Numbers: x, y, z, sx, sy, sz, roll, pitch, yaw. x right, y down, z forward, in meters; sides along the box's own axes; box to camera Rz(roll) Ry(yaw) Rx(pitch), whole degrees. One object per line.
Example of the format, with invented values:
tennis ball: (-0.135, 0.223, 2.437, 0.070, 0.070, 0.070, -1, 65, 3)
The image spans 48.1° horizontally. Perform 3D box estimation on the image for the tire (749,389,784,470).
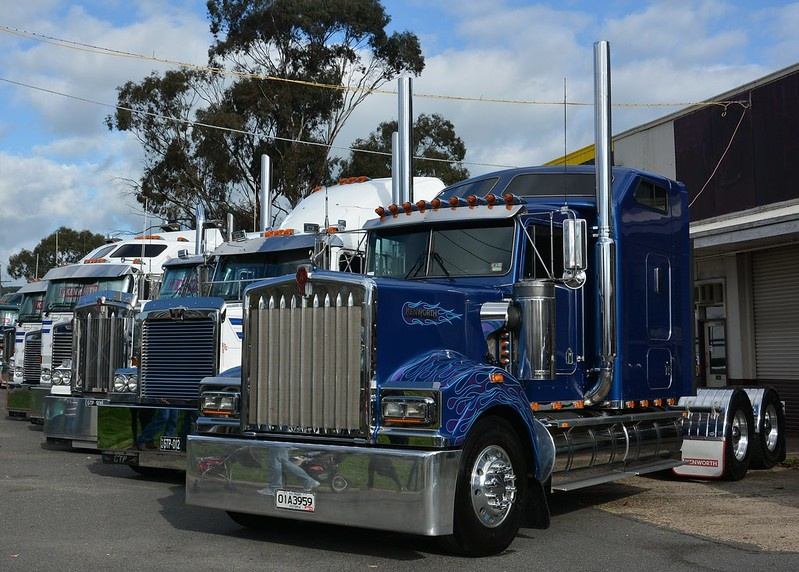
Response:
tire: (5.735, 2.250, 14.031, 0.409, 1.287, 1.085, -6, -7, 40)

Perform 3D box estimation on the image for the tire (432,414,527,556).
tire: (0.792, 2.054, 9.255, 0.600, 1.402, 1.183, -11, -15, 37)

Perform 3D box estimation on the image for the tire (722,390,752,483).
tire: (5.096, 2.218, 13.437, 0.281, 1.283, 1.056, 1, 0, 32)

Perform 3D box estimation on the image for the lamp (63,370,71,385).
lamp: (-5.721, 1.549, 15.353, 0.186, 0.241, 0.079, 3, -7, 5)

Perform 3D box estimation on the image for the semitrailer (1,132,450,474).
semitrailer: (-1.094, 0.876, 15.130, 7.688, 4.074, 2.970, 7, -8, -42)

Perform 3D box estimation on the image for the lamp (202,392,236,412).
lamp: (-2.011, 1.298, 10.003, 0.302, 0.165, 0.225, -2, -5, 28)

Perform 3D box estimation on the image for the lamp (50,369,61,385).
lamp: (-5.911, 1.554, 15.400, 0.201, 0.227, 0.056, 7, -8, 12)

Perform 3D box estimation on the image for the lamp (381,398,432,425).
lamp: (0.092, 1.249, 9.080, 0.550, 0.253, 0.053, 0, 0, 21)

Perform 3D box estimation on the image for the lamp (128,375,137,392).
lamp: (-3.781, 1.378, 12.722, 0.193, 0.241, 0.059, 1, 0, 44)

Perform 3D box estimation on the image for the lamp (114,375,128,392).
lamp: (-3.991, 1.381, 12.804, 0.170, 0.267, 0.091, 3, -4, 5)
